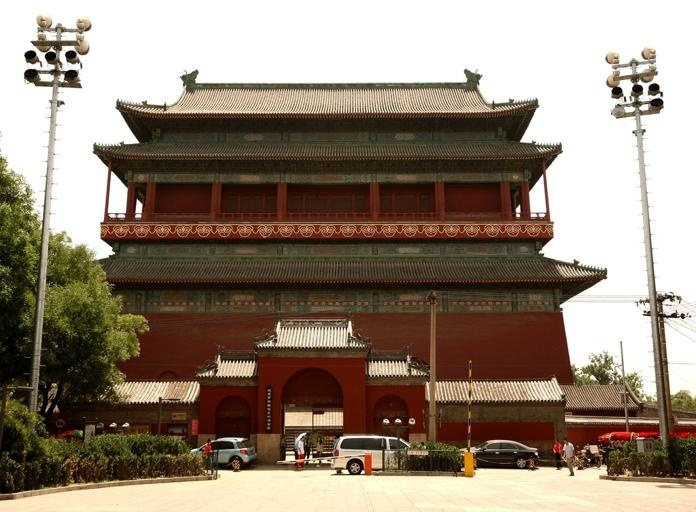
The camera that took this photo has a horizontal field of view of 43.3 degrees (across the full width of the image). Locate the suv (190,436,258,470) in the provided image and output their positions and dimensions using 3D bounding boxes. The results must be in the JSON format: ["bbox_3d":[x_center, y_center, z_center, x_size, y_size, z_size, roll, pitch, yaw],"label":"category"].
[{"bbox_3d":[-5.621,8.846,39.620,2.655,1.093,1.552,1,-13,1],"label":"suv"}]

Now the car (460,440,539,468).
[{"bbox_3d":[7.490,9.349,41.826,2.927,1.444,1.357,-5,-16,10],"label":"car"}]
